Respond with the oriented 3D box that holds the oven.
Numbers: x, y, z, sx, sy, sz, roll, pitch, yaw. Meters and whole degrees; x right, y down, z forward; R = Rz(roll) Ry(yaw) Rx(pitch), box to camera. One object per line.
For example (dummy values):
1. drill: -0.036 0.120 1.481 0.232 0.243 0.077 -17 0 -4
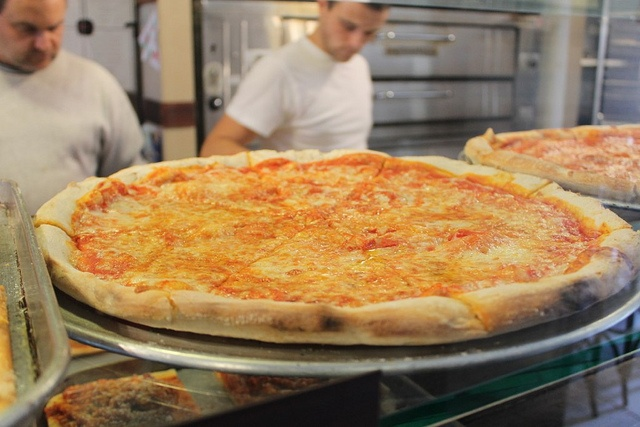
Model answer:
1. oven: 0.167 -0.461 1.786 1.138 0.480 0.357 -4 9 -15
